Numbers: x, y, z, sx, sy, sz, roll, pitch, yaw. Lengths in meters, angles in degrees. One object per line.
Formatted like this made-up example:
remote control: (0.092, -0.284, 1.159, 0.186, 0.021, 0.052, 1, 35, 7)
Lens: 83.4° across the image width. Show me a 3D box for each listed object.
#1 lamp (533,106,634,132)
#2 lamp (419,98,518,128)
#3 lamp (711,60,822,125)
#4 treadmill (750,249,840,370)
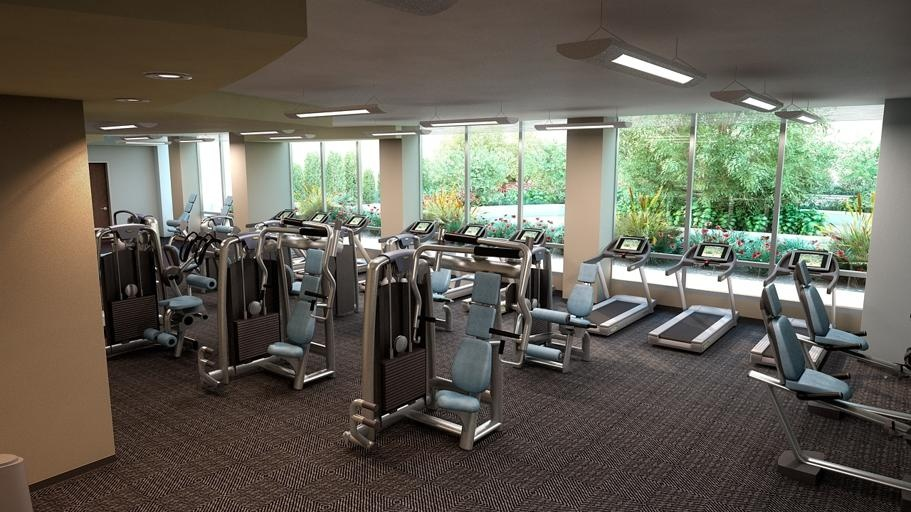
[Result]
lamp: (2.693, -2.755, 10.475, 1.681, 0.345, 2.589, 2, 10, 16)
lamp: (0.418, -2.634, 9.677, 1.565, 0.402, 2.499, 2, 10, 14)
lamp: (4.361, -2.265, 7.239, 0.547, 0.494, 3.236, 10, 14, 44)
treadmill: (6.025, 0.758, 8.972, 1.088, 1.795, 3.084, 7, 13, 37)
